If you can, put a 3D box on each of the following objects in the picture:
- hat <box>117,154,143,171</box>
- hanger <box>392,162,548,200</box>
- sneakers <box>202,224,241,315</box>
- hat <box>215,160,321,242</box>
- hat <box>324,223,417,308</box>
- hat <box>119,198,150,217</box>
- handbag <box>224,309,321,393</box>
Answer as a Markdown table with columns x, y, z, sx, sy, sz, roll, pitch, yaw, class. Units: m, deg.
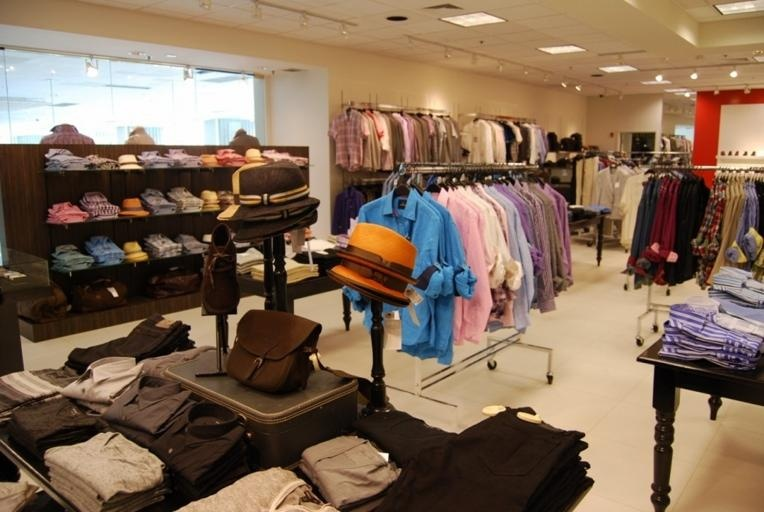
| x | y | z | sx | sy | sz | roll | pitch | yaw | class |
| --- | --- | --- | --- | --- | --- | --- | --- | --- | --- |
| -3.066 | -1.146 | 6.445 | 0.259 | 0.177 | 0.317 | -6 | 15 | -25 | hat |
| 0.649 | -0.736 | 4.752 | 0.604 | 0.239 | 2.034 | 13 | 18 | 42 | hanger |
| -0.842 | 0.058 | 2.776 | 0.200 | 0.180 | 0.511 | 1 | 54 | -18 | sneakers |
| -0.609 | -0.280 | 2.737 | 0.470 | 0.251 | 0.429 | -11 | 22 | 20 | hat |
| 0.000 | 0.052 | 2.684 | 0.439 | 0.262 | 0.375 | 21 | -6 | 13 | hat |
| -3.053 | -0.594 | 6.532 | 0.302 | 0.153 | 0.258 | -6 | 11 | -16 | hat |
| -0.555 | 0.475 | 2.639 | 0.495 | 0.357 | 0.280 | 9 | 6 | 24 | handbag |
